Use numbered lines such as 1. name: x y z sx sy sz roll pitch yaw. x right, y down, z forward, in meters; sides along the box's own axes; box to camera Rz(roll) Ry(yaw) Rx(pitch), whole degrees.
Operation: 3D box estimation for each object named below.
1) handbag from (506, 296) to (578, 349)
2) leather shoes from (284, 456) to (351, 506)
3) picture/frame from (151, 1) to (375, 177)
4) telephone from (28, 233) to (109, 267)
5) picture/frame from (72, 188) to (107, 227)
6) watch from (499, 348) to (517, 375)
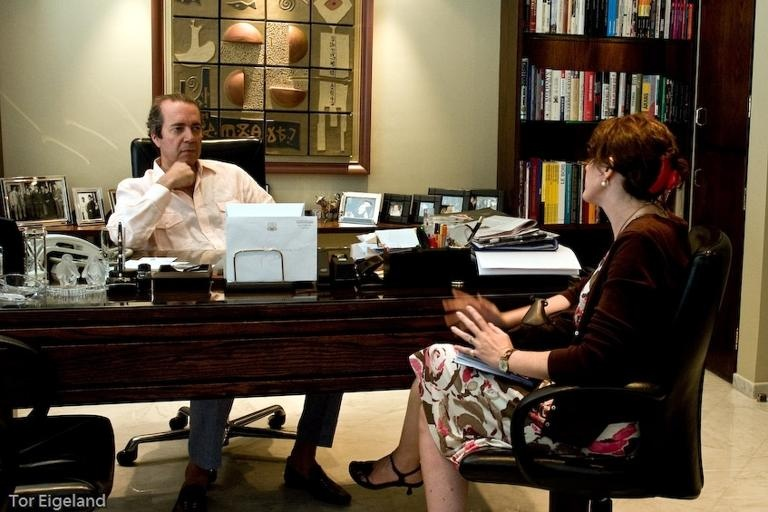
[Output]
1. handbag: 0.540 0.219 2.077 0.241 0.217 0.143 -5 17 -5
2. leather shoes: -0.300 1.034 2.752 0.367 0.139 0.135 16 10 25
3. picture/frame: -0.838 -1.157 3.916 1.432 1.498 0.079 1 9 2
4. telephone: -1.166 -0.034 2.212 0.176 0.099 0.394 -7 10 -31
5. picture/frame: -1.918 -0.324 3.848 0.170 0.232 0.183 -6 9 -25
6. watch: 0.380 0.332 1.839 0.076 0.072 0.043 3 2 -42
